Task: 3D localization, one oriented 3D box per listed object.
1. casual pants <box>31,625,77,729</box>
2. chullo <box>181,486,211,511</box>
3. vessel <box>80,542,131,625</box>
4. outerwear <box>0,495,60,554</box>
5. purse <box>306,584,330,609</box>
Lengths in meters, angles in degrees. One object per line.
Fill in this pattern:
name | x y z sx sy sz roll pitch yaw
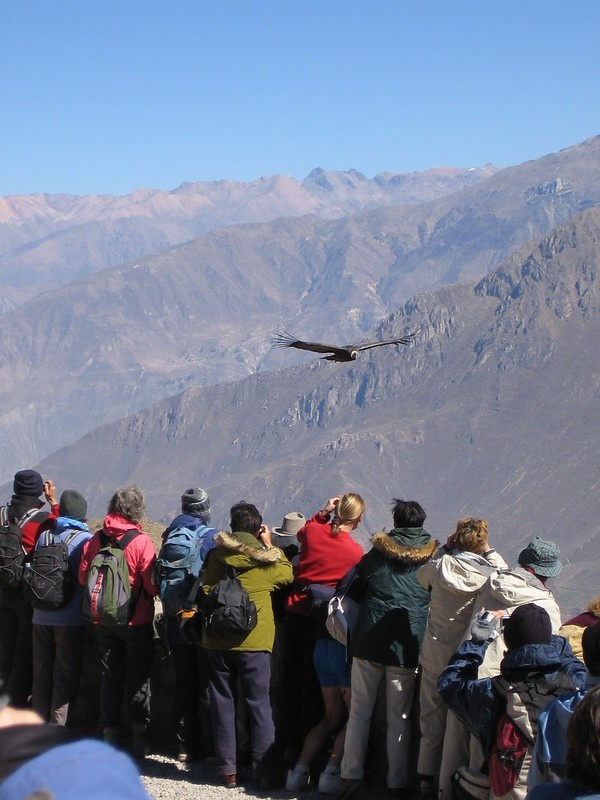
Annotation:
casual pants | -1.885 2.059 7.075 0.312 1.022 0.269 6 17 -8
chullo | -0.742 0.723 6.764 0.180 0.188 0.232 1 -13 -41
vessel | -1.389 1.341 6.619 0.367 0.521 0.307 6 3 40
outerwear | -2.152 0.967 7.378 0.362 0.410 0.436 -18 7 -24
purse | 0.112 1.304 6.134 0.128 0.147 0.144 2 -16 13
